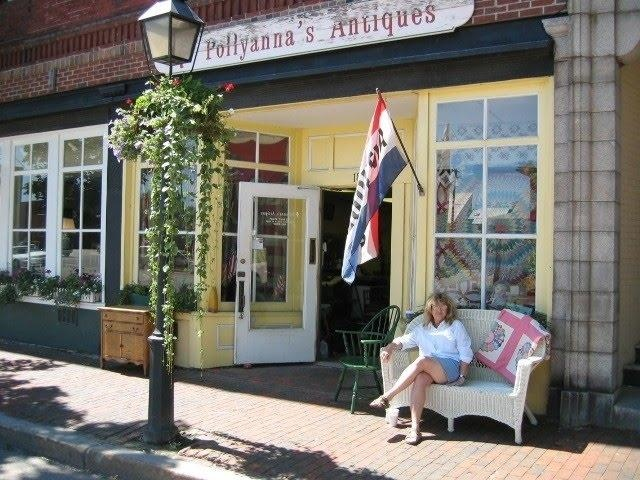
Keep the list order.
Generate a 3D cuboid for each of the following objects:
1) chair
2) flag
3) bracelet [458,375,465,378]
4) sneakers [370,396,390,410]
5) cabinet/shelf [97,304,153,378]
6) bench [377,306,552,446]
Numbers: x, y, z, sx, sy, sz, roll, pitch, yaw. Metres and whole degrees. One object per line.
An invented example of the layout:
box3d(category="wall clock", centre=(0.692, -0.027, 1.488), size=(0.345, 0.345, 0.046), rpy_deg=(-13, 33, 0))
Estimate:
box3d(category="chair", centre=(0.578, 1.439, 7.138), size=(0.621, 1.297, 0.723), rpy_deg=(5, -7, -16))
box3d(category="flag", centre=(0.585, -0.562, 6.397), size=(0.662, 2.009, 0.316), rpy_deg=(0, 4, 1))
box3d(category="bracelet", centre=(1.463, 1.422, 6.019), size=(0.050, 0.040, 0.068), rpy_deg=(1, 5, 9))
box3d(category="sneakers", centre=(0.595, 1.695, 5.972), size=(0.124, 0.103, 0.231), rpy_deg=(2, 0, -42))
box3d(category="cabinet/shelf", centre=(-2.647, 1.373, 8.247), size=(0.798, 0.928, 0.590), rpy_deg=(3, 6, 18))
box3d(category="bench", centre=(1.565, 1.369, 6.242), size=(1.559, 1.292, 0.979), rpy_deg=(0, -3, 39))
